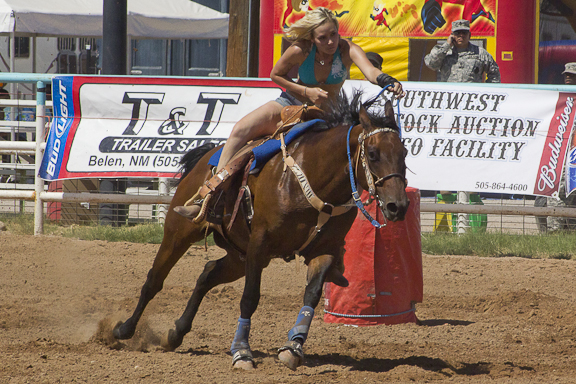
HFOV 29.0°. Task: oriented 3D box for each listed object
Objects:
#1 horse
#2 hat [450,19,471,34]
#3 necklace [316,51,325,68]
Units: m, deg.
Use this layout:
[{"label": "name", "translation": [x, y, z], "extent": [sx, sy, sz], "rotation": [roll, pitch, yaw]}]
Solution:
[{"label": "horse", "translation": [-0.347, 0.694, 17.010], "extent": [1.709, 4.236, 5.292], "rotation": [12, -10, -43]}, {"label": "hat", "translation": [3.263, -3.097, 21.030], "extent": [0.390, 0.213, 0.630], "rotation": [0, 1, 11]}, {"label": "necklace", "translation": [0.485, -1.932, 16.339], "extent": [0.127, 0.187, 0.093], "rotation": [0, -22, -6]}]
